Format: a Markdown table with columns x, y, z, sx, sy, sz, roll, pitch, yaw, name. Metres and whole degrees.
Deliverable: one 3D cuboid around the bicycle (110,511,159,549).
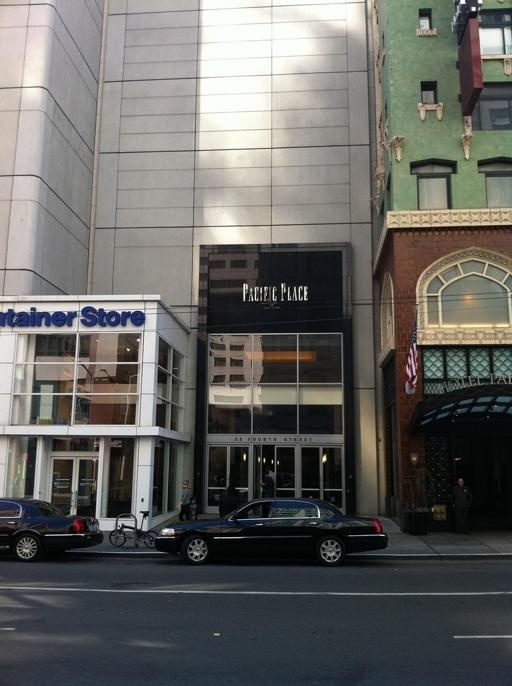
| x | y | z | sx | sy | sz | roll | pitch | yaw | name |
| --- | --- | --- | --- | --- | --- | --- | --- | --- | --- |
| -3.311 | 4.944 | 17.148 | 1.076 | 0.862 | 3.073 | 2 | -15 | -12 | bicycle |
